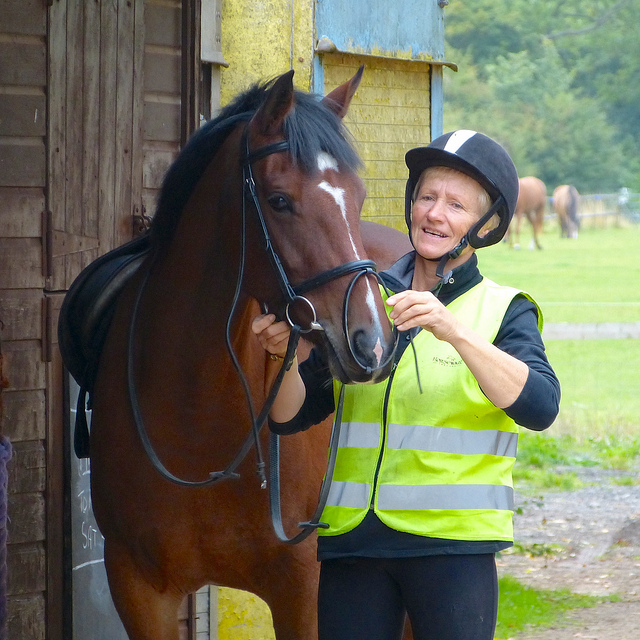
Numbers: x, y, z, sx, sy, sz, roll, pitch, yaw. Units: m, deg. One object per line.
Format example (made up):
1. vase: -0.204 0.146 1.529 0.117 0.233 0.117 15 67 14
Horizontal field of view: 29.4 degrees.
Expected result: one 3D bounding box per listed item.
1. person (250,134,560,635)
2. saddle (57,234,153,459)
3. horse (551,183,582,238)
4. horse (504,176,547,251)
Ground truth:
1. person: 0.273 0.245 3.584 0.780 1.569 0.521 7 9 9
2. saddle: -0.823 0.058 4.489 0.462 0.777 0.234 0 7 -38
3. horse: 4.830 -2.142 24.409 0.512 1.115 1.576 7 10 10
4. horse: 3.904 -2.010 23.269 0.678 1.438 2.831 7 11 9
